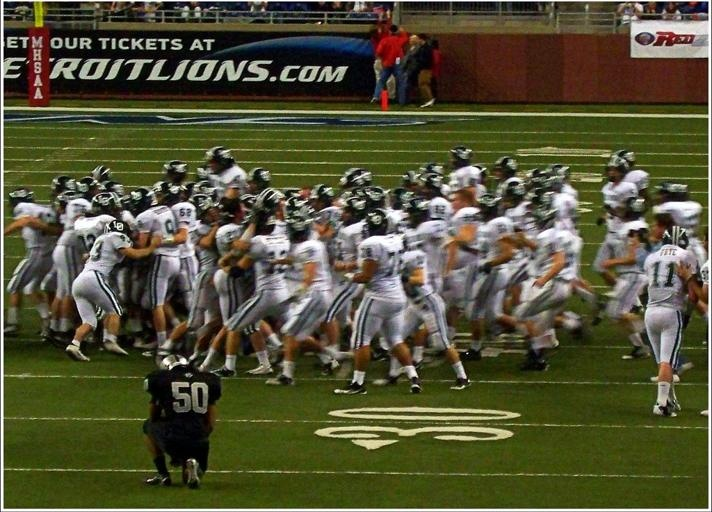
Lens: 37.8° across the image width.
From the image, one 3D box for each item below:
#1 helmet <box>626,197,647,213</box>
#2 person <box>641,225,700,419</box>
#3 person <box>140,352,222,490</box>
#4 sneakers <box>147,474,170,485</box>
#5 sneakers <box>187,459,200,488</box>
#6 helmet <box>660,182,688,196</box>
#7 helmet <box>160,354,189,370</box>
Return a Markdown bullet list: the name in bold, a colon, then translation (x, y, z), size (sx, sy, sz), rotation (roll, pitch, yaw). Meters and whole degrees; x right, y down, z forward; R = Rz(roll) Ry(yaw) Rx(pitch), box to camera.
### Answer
- **helmet**: translation (3.718, -0.679, 13.672), size (0.230, 0.157, 0.265), rotation (1, -5, 9)
- **person**: translation (3.563, 0.844, 11.736), size (0.536, 2.010, 0.535), rotation (0, 5, 12)
- **person**: translation (-1.677, 1.619, 10.013), size (0.753, 1.308, 0.333), rotation (-1, 5, 3)
- **sneakers**: translation (-1.936, 2.197, 10.279), size (0.300, 0.103, 0.096), rotation (3, 4, 6)
- **sneakers**: translation (-1.562, 2.103, 10.082), size (0.142, 0.288, 0.138), rotation (-5, 24, -5)
- **helmet**: translation (4.029, -0.838, 13.100), size (0.314, 0.078, 0.184), rotation (1, 8, -5)
- **helmet**: translation (-1.777, 1.013, 10.028), size (0.211, 0.154, 0.217), rotation (-35, 13, -17)
